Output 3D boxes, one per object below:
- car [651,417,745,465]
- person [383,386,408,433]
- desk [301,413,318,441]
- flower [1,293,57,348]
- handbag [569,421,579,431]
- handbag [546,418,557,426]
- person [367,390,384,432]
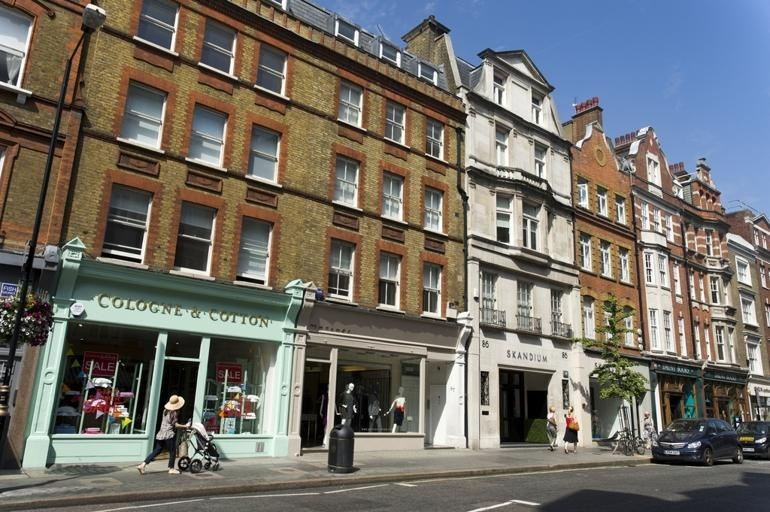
[{"bbox_3d":[14.054,8.350,27.194,3.770,1.802,1.855,4,-5,-26],"label":"car"},{"bbox_3d":[0.581,7.117,27.801,0.998,1.947,0.605,6,-6,-40],"label":"person"},{"bbox_3d":[-3.313,7.655,26.808,0.768,1.134,1.564,3,-5,-8],"label":"desk"},{"bbox_3d":[-11.208,1.989,18.739,1.049,1.527,1.326,0,-5,25],"label":"flower"},{"bbox_3d":[9.153,8.227,29.062,0.233,0.423,0.647,-2,-6,40],"label":"handbag"},{"bbox_3d":[8.173,8.304,29.919,0.591,0.418,0.774,-1,-16,16],"label":"handbag"},{"bbox_3d":[-0.431,7.134,27.555,0.782,1.648,0.654,4,-5,-18],"label":"person"}]
